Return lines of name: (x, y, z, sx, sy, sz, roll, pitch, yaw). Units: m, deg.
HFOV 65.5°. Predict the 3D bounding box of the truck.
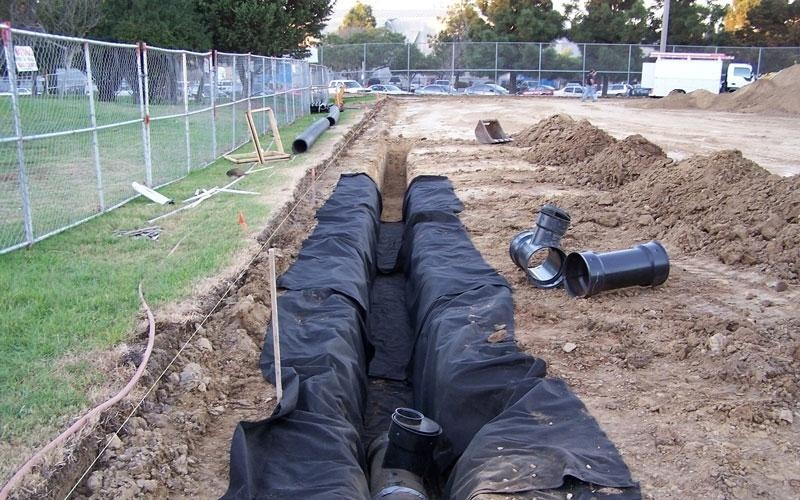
truck: (16.500, -9.699, 34.177, 5.443, 2.569, 3.900, 2, 23, 12)
